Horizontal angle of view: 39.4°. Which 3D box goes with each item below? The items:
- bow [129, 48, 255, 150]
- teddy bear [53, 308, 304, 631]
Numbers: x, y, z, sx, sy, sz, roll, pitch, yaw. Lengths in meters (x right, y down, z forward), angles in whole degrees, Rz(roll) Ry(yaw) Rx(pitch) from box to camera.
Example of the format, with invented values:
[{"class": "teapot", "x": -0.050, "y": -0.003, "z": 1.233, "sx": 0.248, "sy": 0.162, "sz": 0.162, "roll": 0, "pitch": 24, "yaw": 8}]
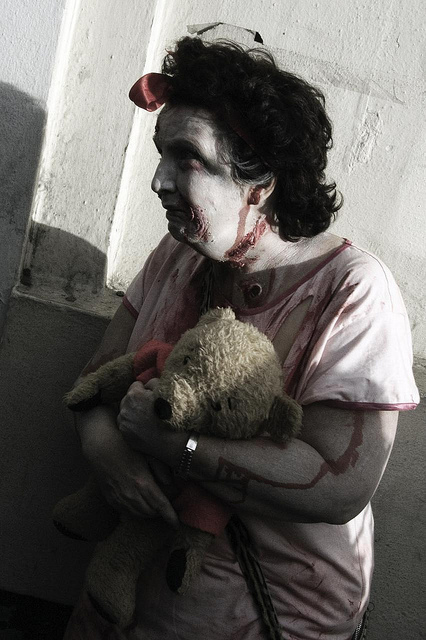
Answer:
[{"class": "bow", "x": -0.063, "y": -0.531, "z": 1.441, "sx": 0.304, "sy": 0.203, "sz": 0.311, "roll": -1, "pitch": 22, "yaw": -10}, {"class": "teddy bear", "x": -0.076, "y": 0.304, "z": 1.276, "sx": 0.383, "sy": 0.640, "sz": 0.496, "roll": -4, "pitch": 46, "yaw": -34}]
